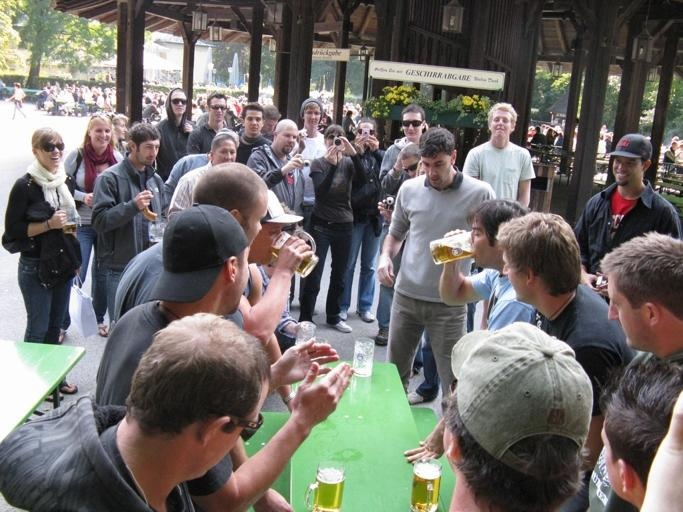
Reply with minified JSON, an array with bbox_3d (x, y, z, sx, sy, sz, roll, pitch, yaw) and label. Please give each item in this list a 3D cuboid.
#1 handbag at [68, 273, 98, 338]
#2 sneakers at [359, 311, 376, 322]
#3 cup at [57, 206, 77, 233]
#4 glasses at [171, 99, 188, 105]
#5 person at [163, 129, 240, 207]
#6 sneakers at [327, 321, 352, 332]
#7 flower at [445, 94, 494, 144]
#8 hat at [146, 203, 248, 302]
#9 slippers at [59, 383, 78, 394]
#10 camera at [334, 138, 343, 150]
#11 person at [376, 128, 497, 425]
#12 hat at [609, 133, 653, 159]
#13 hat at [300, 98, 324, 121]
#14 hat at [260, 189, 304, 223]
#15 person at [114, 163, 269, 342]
[{"bbox_3d":[-2.083,0.337,4.432,0.110,0.376,0.379,-1,2,-5],"label":"handbag"},{"bbox_3d":[0.294,0.663,5.984,0.075,0.089,0.207,-4,7,-34],"label":"sneakers"},{"bbox_3d":[-2.146,-0.283,4.306,0.124,0.194,0.157,1,-5,-19],"label":"cup"},{"bbox_3d":[-2.087,-2.015,7.135,0.141,0.085,0.229,11,16,26],"label":"glasses"},{"bbox_3d":[-1.196,-0.589,4.736,0.270,0.944,0.314,31,20,32],"label":"person"},{"bbox_3d":[0.004,0.733,5.661,0.264,0.117,0.100,11,21,15],"label":"sneakers"},{"bbox_3d":[1.763,-1.965,7.697,0.716,0.596,0.631,0,10,-4],"label":"flower"},{"bbox_3d":[-0.544,-0.032,1.987,0.305,0.267,0.482,-3,25,15],"label":"hat"},{"bbox_3d":[-2.126,1.035,4.270,0.110,0.044,0.065,6,15,18],"label":"slippers"},{"bbox_3d":[-0.022,-1.146,5.511,0.084,0.098,0.062,0,14,-15],"label":"camera"},{"bbox_3d":[0.693,0.198,4.189,0.729,2.289,0.652,9,20,19],"label":"person"},{"bbox_3d":[2.403,-0.896,4.499,0.304,0.186,0.215,2,8,-25],"label":"hat"},{"bbox_3d":[-0.355,-1.771,6.583,0.214,0.292,0.302,-1,22,-4],"label":"hat"},{"bbox_3d":[-0.277,-0.238,2.649,0.195,0.121,0.135,-2,6,8],"label":"hat"},{"bbox_3d":[-0.762,0.074,2.589,0.437,0.407,0.771,6,29,6],"label":"person"}]
